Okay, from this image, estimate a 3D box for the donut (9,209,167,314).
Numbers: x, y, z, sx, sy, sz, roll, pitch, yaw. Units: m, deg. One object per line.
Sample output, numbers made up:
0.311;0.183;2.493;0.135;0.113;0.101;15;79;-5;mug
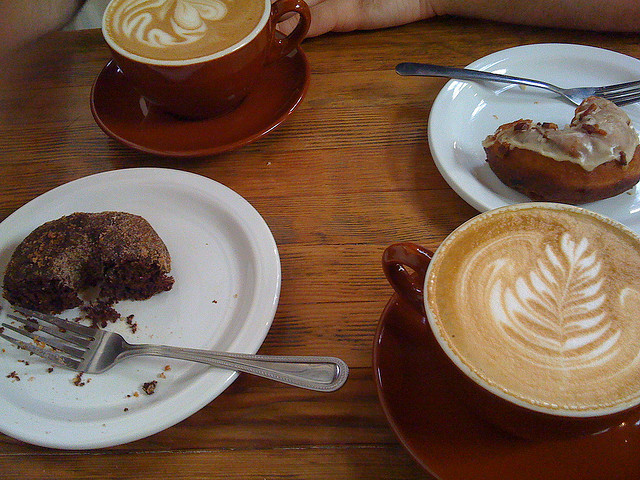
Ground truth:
-0.436;0.038;1.080;0.322;0.091;0.174;-8;79;-4;donut
